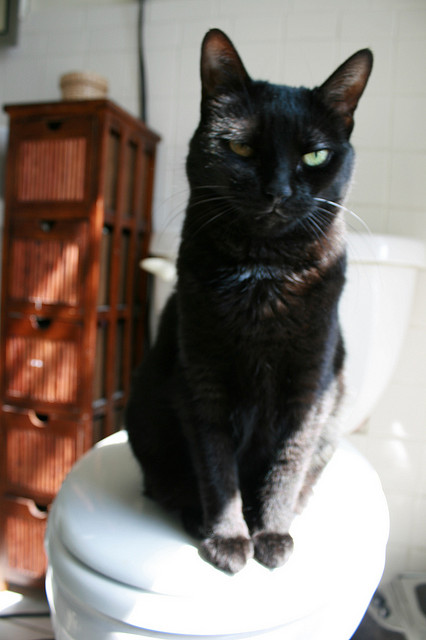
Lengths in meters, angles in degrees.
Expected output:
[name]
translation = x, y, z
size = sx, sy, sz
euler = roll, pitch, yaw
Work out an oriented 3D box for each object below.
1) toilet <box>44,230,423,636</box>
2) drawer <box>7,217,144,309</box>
[toilet]
translation = 0.042, 0.130, 0.961
size = 0.469, 0.504, 0.640
euler = 10, 16, 8
[drawer]
translation = -0.287, -0.119, 1.308
size = 0.202, 0.130, 0.190
euler = 5, 10, 18
